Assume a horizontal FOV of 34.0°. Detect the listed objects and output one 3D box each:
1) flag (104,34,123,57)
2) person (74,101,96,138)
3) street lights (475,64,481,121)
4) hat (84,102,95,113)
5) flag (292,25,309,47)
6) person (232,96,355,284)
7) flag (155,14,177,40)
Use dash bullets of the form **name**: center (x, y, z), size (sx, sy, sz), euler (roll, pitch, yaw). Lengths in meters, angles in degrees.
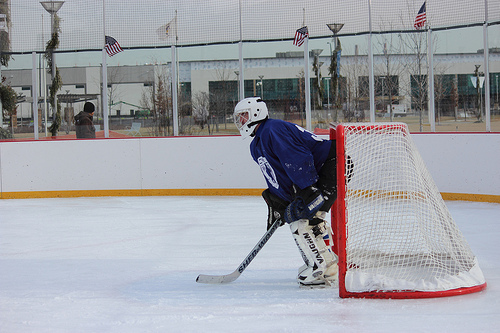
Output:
- **flag**: center (-2.301, -2.065, 13.922), size (0.331, 0.477, 0.036), euler (2, 3, -1)
- **person**: center (-2.796, -0.806, 13.955), size (0.298, 0.824, 0.412), euler (-4, 15, -31)
- **street lights**: center (3.644, -1.171, 13.080), size (0.098, 0.890, 0.280), euler (-1, 10, 13)
- **hat**: center (-2.725, -0.995, 13.898), size (0.161, 0.173, 0.178), euler (5, 14, -9)
- **flag**: center (0.835, -2.201, 13.640), size (0.269, 0.406, 0.173), euler (7, 6, 3)
- **person**: center (0.560, 0.235, 9.566), size (1.234, 2.336, 0.902), euler (0, 1, -16)
- **flag**: center (-1.414, -2.361, 13.897), size (0.380, 0.469, 0.026), euler (1, 7, 6)
